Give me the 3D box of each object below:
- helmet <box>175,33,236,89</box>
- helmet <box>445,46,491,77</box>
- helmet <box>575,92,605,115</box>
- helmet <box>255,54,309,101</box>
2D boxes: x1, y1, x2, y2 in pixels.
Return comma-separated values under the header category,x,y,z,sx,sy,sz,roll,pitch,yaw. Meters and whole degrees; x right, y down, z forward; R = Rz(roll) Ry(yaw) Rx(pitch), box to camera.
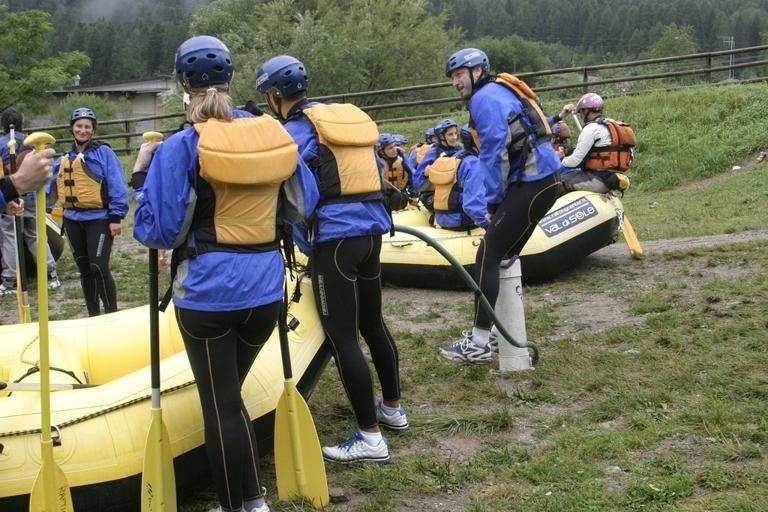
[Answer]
category,x,y,z,sx,sy,sz,roll,pitch,yaw
helmet,-1.364,-1.493,6.302,0.367,0.404,0.445,-11,34,-14
helmet,0.810,-1.934,8.161,0.370,0.207,0.263,-11,19,-6
helmet,2.758,-2.095,11.252,0.267,0.224,0.391,-4,8,-17
helmet,-0.812,-1.484,6.809,0.395,0.243,0.327,-19,7,34
